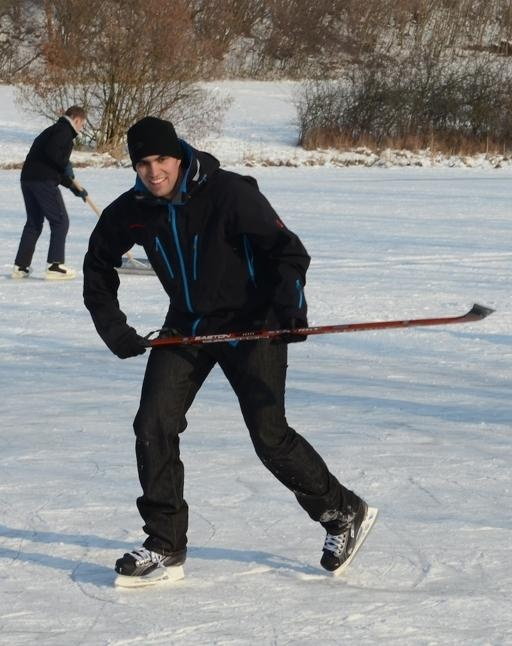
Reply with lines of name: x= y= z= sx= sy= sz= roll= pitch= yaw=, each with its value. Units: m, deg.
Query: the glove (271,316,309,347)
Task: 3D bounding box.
glove: x=0.100 y=0.025 z=2.532 sx=0.102 sy=0.102 sz=0.124 roll=0 pitch=14 yaw=2

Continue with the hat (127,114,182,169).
hat: x=-0.321 y=-0.564 z=2.656 sx=0.207 sy=0.128 sz=0.191 roll=-5 pitch=5 yaw=3

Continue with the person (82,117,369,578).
person: x=-0.115 y=0.089 z=2.702 sx=0.997 sy=1.447 sz=0.595 roll=1 pitch=16 yaw=7

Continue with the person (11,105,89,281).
person: x=-1.858 y=-1.133 z=7.579 sx=0.560 sy=1.518 sz=0.521 roll=5 pitch=17 yaw=20

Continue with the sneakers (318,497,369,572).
sneakers: x=0.283 y=0.685 z=2.785 sx=0.094 sy=0.254 sz=0.128 roll=24 pitch=-19 yaw=35

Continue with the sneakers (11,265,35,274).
sneakers: x=-2.122 y=-0.474 z=7.756 sx=0.063 sy=0.099 sz=0.173 roll=21 pitch=32 yaw=34

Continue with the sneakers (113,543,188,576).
sneakers: x=-0.332 y=0.744 z=2.686 sx=0.221 sy=0.076 sz=0.081 roll=4 pitch=-6 yaw=-25
